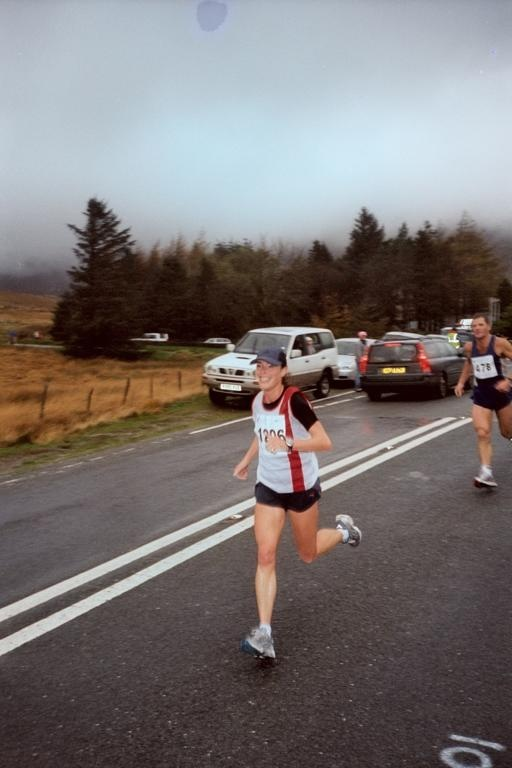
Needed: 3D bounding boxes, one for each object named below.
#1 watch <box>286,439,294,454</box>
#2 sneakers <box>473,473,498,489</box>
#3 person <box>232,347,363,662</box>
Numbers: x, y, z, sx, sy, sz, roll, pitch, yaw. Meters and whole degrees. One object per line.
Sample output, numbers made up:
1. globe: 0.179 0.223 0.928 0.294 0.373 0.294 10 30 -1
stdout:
1. watch: 0.170 0.315 2.975 0.039 0.061 0.064 4 26 0
2. sneakers: 2.569 1.108 6.584 0.131 0.150 0.318 -14 -44 28
3. person: 0.188 0.567 3.214 0.432 1.576 0.862 -1 0 6
